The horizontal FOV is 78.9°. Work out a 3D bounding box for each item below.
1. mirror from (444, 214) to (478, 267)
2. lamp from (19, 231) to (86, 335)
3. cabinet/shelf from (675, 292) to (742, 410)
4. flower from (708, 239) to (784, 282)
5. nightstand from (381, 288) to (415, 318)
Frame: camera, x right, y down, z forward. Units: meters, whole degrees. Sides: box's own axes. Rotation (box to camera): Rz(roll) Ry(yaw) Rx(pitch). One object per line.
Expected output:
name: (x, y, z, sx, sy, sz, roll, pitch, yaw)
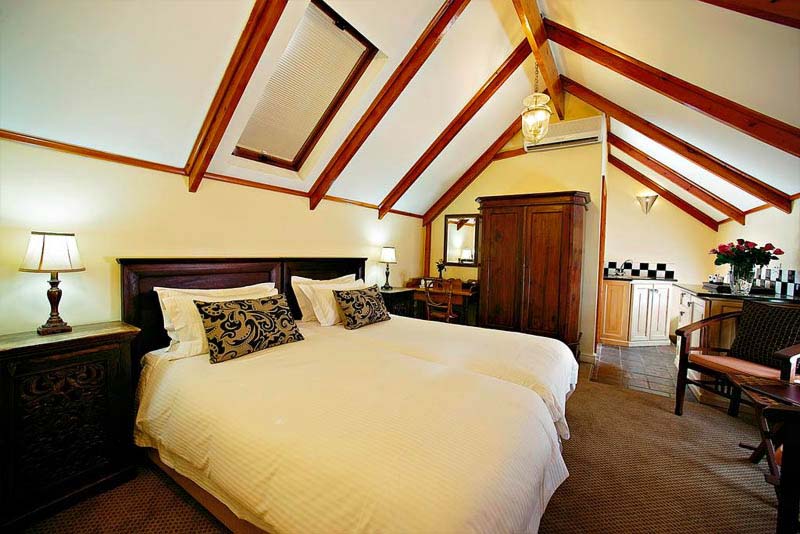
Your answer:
mirror: (0.939, -0.401, 7.323, 0.742, 1.098, 0.078, 1, -1, 38)
lamp: (-2.890, 0.120, 4.052, 0.440, 0.995, 0.283, -4, 1, -33)
cabinet/shelf: (3.237, 0.893, 5.034, 0.583, 1.041, 1.073, 1, 5, 24)
flower: (3.837, -0.083, 5.320, 0.614, 0.454, 0.525, -3, 0, 41)
nightstand: (-0.001, 0.477, 6.631, 0.343, 0.516, 0.542, -1, -2, 29)
